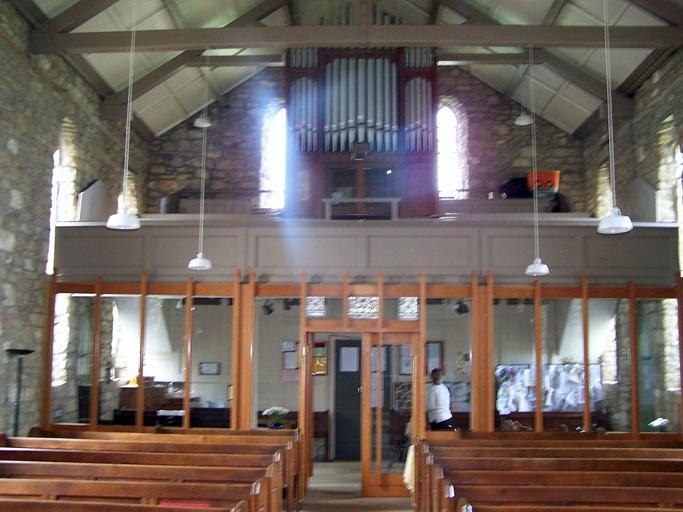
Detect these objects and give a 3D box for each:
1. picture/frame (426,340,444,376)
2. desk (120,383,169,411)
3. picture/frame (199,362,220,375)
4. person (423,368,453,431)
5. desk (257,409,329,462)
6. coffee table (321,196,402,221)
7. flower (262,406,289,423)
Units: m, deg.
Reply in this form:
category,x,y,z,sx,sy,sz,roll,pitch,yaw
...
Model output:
category,x,y,z,sx,sy,sz,roll,pitch,yaw
picture/frame,1.610,1.787,13.393,0.055,0.458,0.688,-3,-6,25
desk,-3.451,2.434,13.219,0.743,0.615,0.450,1,-14,-8
picture/frame,-2.524,2.130,14.485,0.390,0.234,0.077,3,-8,-5
person,1.634,2.407,12.878,0.442,0.996,0.374,0,-10,2
desk,-0.764,3.778,15.998,0.480,0.853,1.321,7,-23,-42
coffee table,0.373,-0.939,13.566,1.746,0.509,0.471,0,4,-1
flower,-1.342,3.063,14.918,0.414,0.228,0.430,0,0,10
